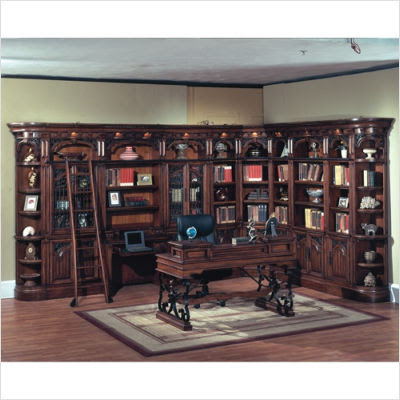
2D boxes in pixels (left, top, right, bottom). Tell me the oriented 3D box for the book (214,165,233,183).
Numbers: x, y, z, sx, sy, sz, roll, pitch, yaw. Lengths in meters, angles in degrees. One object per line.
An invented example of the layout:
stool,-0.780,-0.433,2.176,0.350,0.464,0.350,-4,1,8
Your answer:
book,0.458,-0.493,7.536,0.342,0.369,0.427,1,2,8

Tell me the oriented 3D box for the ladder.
ladder,-1.773,0.445,6.221,0.695,1.758,0.719,-1,0,-17

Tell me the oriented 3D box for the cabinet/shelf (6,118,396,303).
cabinet/shelf,0.182,-0.151,6.869,4.280,2.173,3.972,-2,1,-32

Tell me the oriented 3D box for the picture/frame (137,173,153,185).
picture/frame,-1.003,-0.372,7.019,0.265,0.185,0.033,1,-8,-23

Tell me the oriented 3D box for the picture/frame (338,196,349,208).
picture/frame,2.304,0.029,6.303,0.046,0.145,0.164,11,-5,-34

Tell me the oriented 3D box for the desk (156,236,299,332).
desk,0.354,1.071,5.268,1.784,0.922,0.745,2,-12,-33

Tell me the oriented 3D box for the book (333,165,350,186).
book,2.267,-0.396,6.267,0.253,0.338,0.385,1,1,-15

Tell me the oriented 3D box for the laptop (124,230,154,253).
laptop,-1.052,0.690,6.680,0.485,0.335,0.372,-1,2,-31

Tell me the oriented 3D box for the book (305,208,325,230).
book,1.971,0.327,6.782,0.318,0.342,0.517,-1,3,-23

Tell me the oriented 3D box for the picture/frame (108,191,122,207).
picture/frame,-1.492,-0.019,6.793,0.331,0.319,0.038,0,-6,-27

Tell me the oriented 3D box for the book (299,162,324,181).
book,2.011,-0.499,6.946,0.316,0.351,0.540,-6,9,-42

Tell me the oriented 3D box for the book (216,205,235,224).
book,0.473,0.280,7.524,0.435,0.341,0.211,0,5,-15

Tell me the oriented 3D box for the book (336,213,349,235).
book,2.254,0.359,6.285,0.290,0.325,0.376,2,4,24

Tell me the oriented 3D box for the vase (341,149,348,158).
vase,2.273,-0.736,6.167,0.089,0.177,0.271,0,0,21

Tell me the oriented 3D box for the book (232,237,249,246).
book,0.518,0.525,5.067,0.222,0.087,0.199,0,0,0
